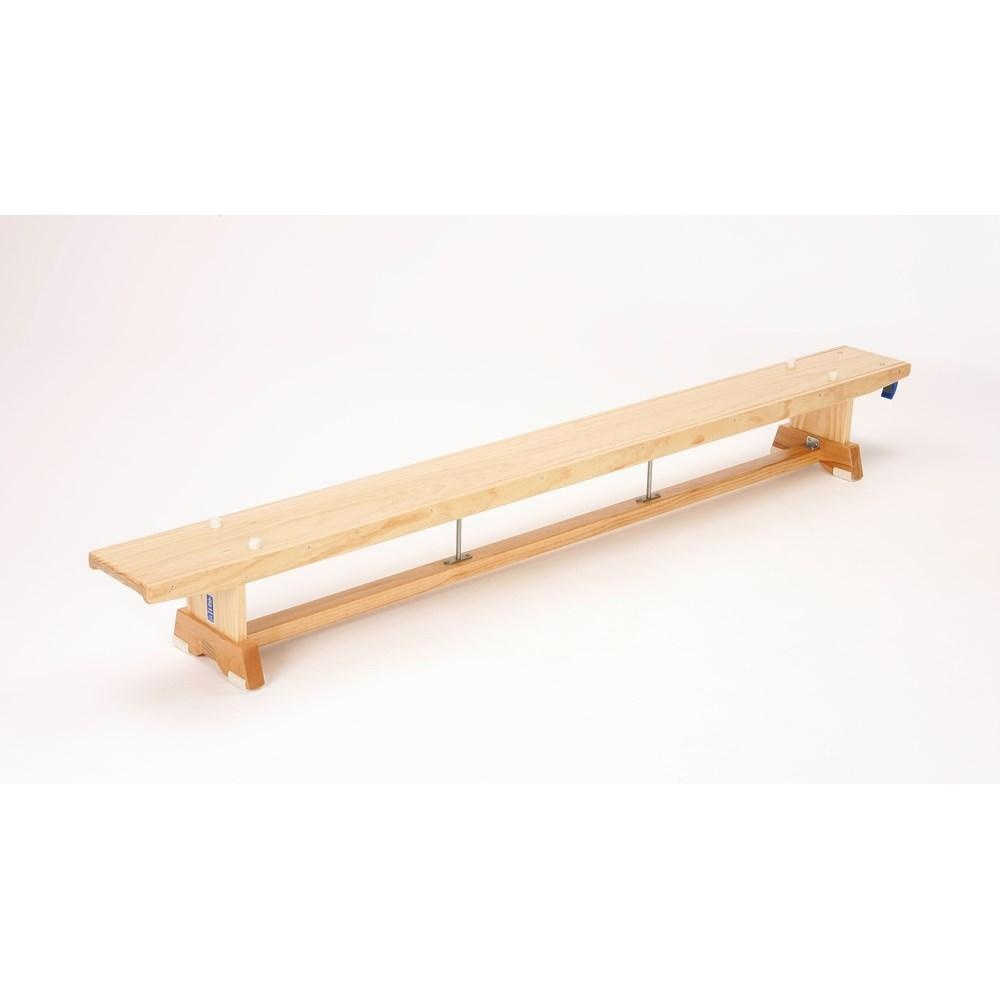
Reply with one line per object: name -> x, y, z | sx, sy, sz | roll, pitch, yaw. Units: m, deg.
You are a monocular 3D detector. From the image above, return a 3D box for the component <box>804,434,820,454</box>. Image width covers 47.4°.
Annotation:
component -> 1.596, -0.292, 5.816 | 0.079, 0.068, 0.038 | 1, -15, 10
